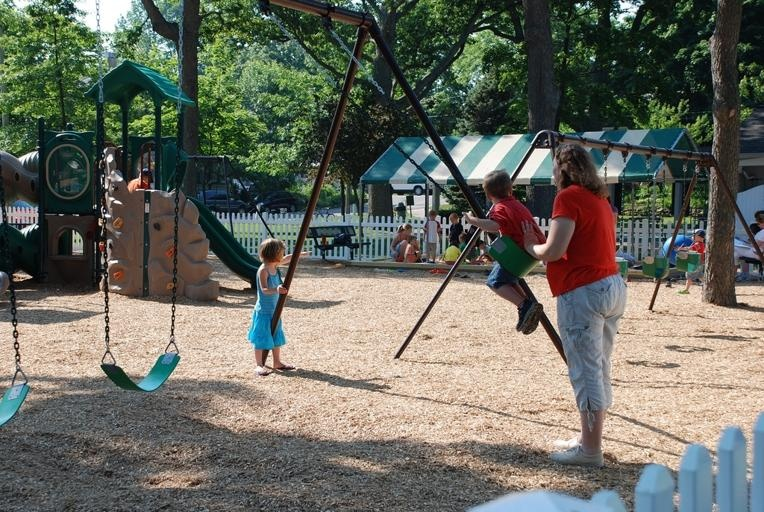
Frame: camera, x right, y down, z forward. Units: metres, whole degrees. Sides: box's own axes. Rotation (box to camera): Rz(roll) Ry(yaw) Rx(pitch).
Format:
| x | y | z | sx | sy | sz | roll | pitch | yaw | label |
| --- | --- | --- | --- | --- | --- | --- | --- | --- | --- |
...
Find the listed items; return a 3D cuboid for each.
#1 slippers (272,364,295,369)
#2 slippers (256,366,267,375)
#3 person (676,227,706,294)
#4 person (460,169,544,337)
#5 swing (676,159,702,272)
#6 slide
| x | y | z | sx | sy | sz | roll | pitch | yaw | label |
| --- | --- | --- | --- | --- | --- | --- | --- | --- | --- |
| -1.678 | 1.915 | 18.202 | 0.246 | 0.061 | 0.108 | -2 | -1 | 1 | slippers |
| -2.054 | 1.960 | 18.004 | 0.217 | 0.134 | 0.166 | 1 | 3 | -4 | slippers |
| 6.997 | 0.122 | 24.411 | 0.794 | 1.547 | 0.688 | -3 | 13 | -26 | person |
| 1.965 | -0.077 | 17.026 | 1.230 | 2.621 | 1.304 | 0 | -9 | -20 | person |
| 7.500 | -1.027 | 26.347 | 0.902 | 3.221 | 0.735 | -1 | -3 | -3 | swing |
| -3.486 | -0.239 | 23.766 | 1.466 | 1.886 | 1.090 | 1 | 3 | -10 | slide |
